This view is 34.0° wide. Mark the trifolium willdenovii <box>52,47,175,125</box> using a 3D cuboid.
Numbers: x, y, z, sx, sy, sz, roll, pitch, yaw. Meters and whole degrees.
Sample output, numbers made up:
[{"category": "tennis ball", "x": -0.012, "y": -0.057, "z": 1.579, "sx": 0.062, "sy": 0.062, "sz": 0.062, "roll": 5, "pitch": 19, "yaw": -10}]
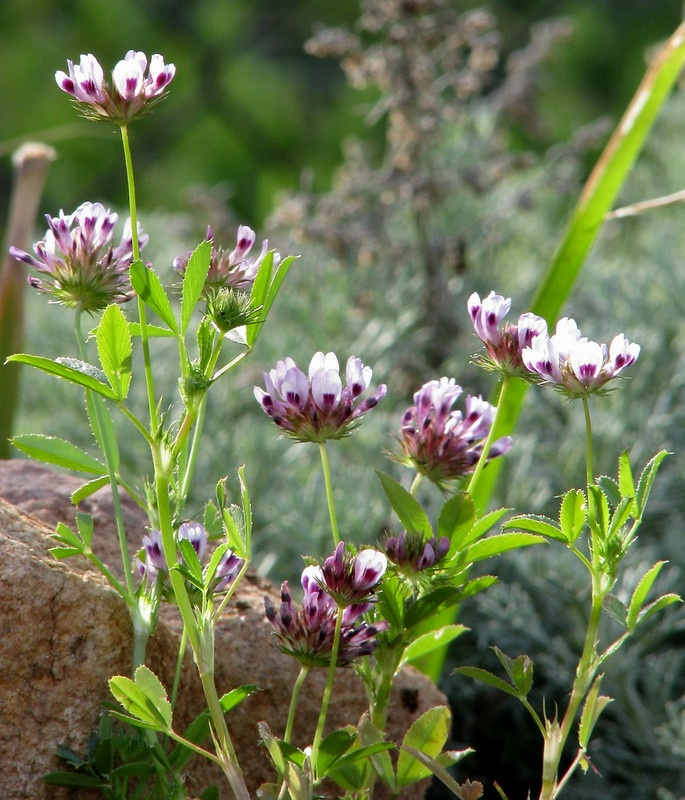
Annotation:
[{"category": "trifolium willdenovii", "x": -0.227, "y": -0.309, "z": 1.125, "sx": 0.109, "sy": 0.054, "sz": 0.093, "roll": -4, "pitch": 3, "yaw": -6}]
